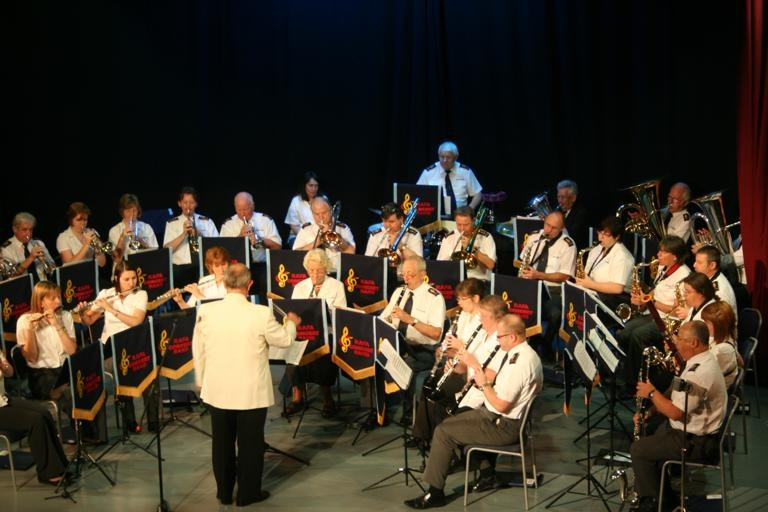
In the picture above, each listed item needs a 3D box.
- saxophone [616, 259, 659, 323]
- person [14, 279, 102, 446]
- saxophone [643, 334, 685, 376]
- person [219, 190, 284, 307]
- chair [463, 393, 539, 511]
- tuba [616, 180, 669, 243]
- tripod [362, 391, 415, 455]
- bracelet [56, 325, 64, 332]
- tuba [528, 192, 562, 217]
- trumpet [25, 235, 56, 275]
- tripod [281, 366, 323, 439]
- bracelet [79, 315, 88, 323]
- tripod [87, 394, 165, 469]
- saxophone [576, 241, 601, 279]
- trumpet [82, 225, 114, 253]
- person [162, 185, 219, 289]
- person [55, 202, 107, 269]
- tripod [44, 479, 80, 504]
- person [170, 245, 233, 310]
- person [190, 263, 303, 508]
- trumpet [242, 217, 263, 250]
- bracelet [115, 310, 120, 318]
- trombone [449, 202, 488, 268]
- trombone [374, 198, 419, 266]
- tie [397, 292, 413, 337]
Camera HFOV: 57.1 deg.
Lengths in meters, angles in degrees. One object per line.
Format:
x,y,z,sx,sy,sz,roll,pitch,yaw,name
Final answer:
3.333,0.481,9.353,0.462,0.707,0.373,-6,-16,-12,saxophone
-3.844,1.254,8.347,0.686,1.925,1.008,-6,4,-43,person
3.105,1.110,7.923,0.190,0.435,0.578,-18,9,23,saxophone
-2.076,-0.133,11.034,0.860,1.902,0.715,1,-13,-2,person
1.288,2.114,7.627,0.689,1.314,0.729,-2,5,-4,chair
4.007,-0.703,10.874,0.592,1.120,0.738,4,-23,-35,tuba
0.094,1.753,8.616,0.701,0.698,1.006,6,7,13,tripod
-3.807,0.859,8.334,0.075,0.022,0.075,45,4,-37,bracelet
2.608,-0.837,11.413,0.425,0.409,0.439,42,2,4,tuba
-5.165,-0.008,10.603,0.181,0.629,0.194,-31,-19,-6,trumpet
-1.203,1.760,9.208,0.489,0.766,0.416,7,-8,19,tripod
-3.774,0.788,8.921,0.094,0.091,0.096,3,-2,0,bracelet
-3.129,2.028,8.515,0.341,0.572,0.411,0,-5,-26,tripod
2.934,0.054,10.338,0.325,0.153,0.607,0,-41,16,saxophone
-4.286,-0.254,10.613,0.243,0.248,0.611,-24,41,-28,trumpet
-3.014,-0.019,11.208,0.812,2.071,0.756,-3,1,-9,person
-4.558,-0.236,10.743,0.623,1.228,0.652,2,-14,-5,person
-3.474,2.537,7.614,0.319,0.202,0.355,-2,-2,-24,tripod
-2.420,0.450,9.261,0.647,0.815,1.036,-1,-43,0,person
-1.504,1.352,7.417,0.976,2.545,0.402,-3,-2,-4,person
-1.998,-0.320,10.894,0.190,0.648,0.193,-21,-15,-12,trumpet
-3.251,0.710,8.628,0.078,0.078,0.021,10,24,31,bracelet
1.351,-0.301,10.229,0.405,0.974,0.505,12,-17,29,trombone
0.265,-0.355,10.198,0.533,0.946,0.487,19,-14,10,trombone
0.267,0.712,8.788,0.131,0.616,0.156,10,-4,25,tie
